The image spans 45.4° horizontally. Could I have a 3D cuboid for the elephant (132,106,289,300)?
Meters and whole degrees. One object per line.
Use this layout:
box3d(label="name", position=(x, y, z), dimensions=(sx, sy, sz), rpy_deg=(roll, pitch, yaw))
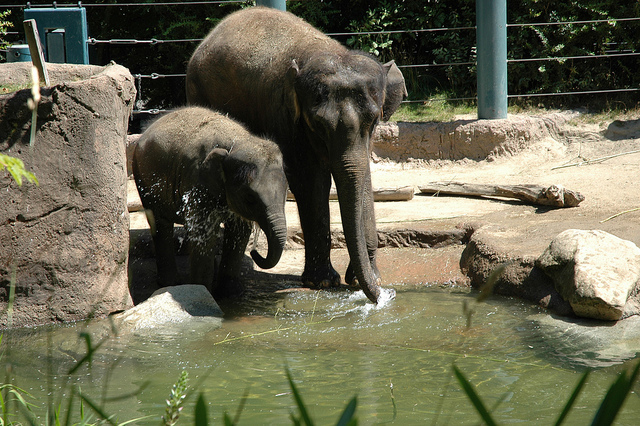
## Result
box3d(label="elephant", position=(-0.934, -0.055, 6.490), dimensions=(1.808, 1.536, 0.823), rpy_deg=(15, 16, 38))
